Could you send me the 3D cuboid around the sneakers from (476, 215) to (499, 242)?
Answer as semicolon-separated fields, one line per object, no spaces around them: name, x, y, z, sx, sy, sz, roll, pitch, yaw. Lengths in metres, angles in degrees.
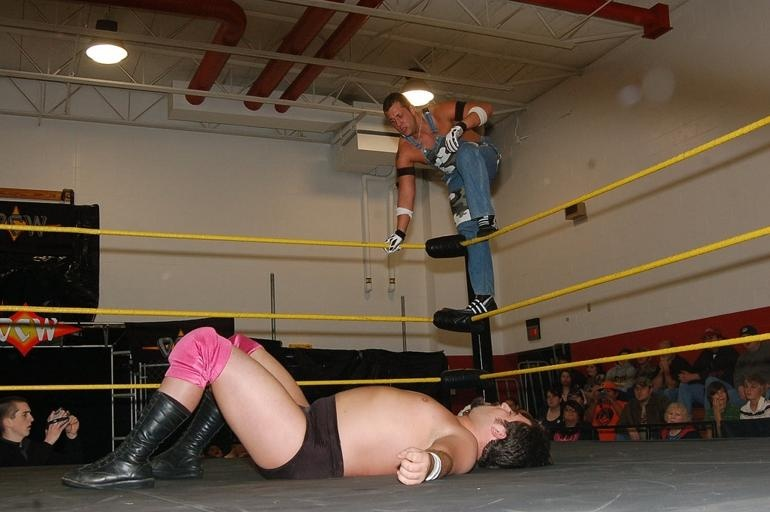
sneakers;0.747;-0.209;4.677;0.200;0.189;0.093;-6;-4;-37

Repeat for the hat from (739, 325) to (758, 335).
hat;3.784;0.774;6.636;0.181;0.103;0.131;9;-10;-31

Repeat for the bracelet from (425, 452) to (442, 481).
bracelet;0.243;1.029;3.137;0.052;0.130;0.120;15;-61;-20

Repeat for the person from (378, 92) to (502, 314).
person;0.449;-0.466;5.031;0.916;1.921;0.742;-2;-13;8

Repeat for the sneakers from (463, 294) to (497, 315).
sneakers;0.655;0.354;4.621;0.292;0.196;0.097;0;-22;-4

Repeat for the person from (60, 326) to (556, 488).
person;-0.394;0.887;3.343;1.503;0.445;1.243;2;-15;1

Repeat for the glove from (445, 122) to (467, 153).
glove;0.540;-0.898;4.808;0.095;0.220;0.161;37;-27;-8

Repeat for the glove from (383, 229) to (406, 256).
glove;0.071;-0.082;5.150;0.208;0.172;0.084;-39;-63;23

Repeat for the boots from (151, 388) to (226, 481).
boots;-1.163;1.021;3.587;0.381;0.401;0.215;1;5;4

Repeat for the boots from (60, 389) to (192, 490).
boots;-1.253;0.949;3.193;0.777;0.538;0.323;2;-12;-3

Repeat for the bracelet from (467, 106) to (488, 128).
bracelet;0.768;-1.083;5.016;0.114;0.153;0.148;-33;-50;13
